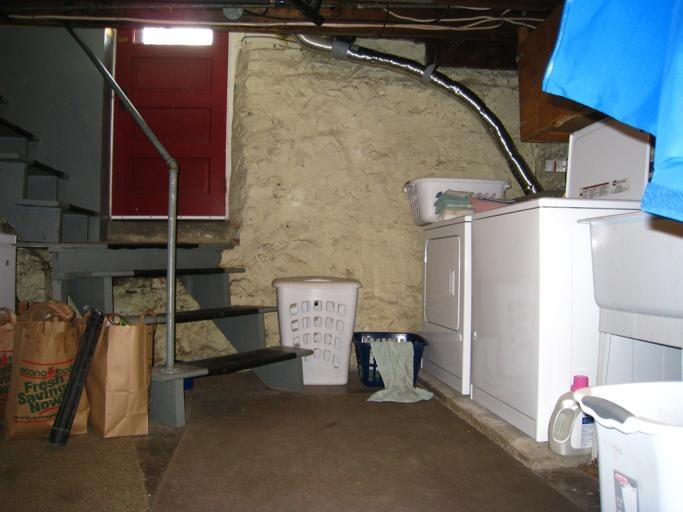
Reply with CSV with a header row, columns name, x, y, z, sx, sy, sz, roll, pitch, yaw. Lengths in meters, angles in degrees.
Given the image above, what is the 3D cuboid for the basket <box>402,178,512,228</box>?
name,x,y,z,sx,sy,sz,roll,pitch,yaw
basket,0.793,-0.418,3.907,0.505,0.213,0.394,4,-4,-14

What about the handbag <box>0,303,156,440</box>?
name,x,y,z,sx,sy,sz,roll,pitch,yaw
handbag,-1.320,0.595,2.783,0.583,0.600,0.253,2,-8,-13

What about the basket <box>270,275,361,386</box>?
name,x,y,z,sx,sy,sz,roll,pitch,yaw
basket,-0.162,0.503,4.002,0.621,0.734,0.655,0,1,-1

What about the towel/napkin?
name,x,y,z,sx,sy,sz,roll,pitch,yaw
towel/napkin,0.373,0.679,3.517,0.335,0.273,0.348,1,7,-1
